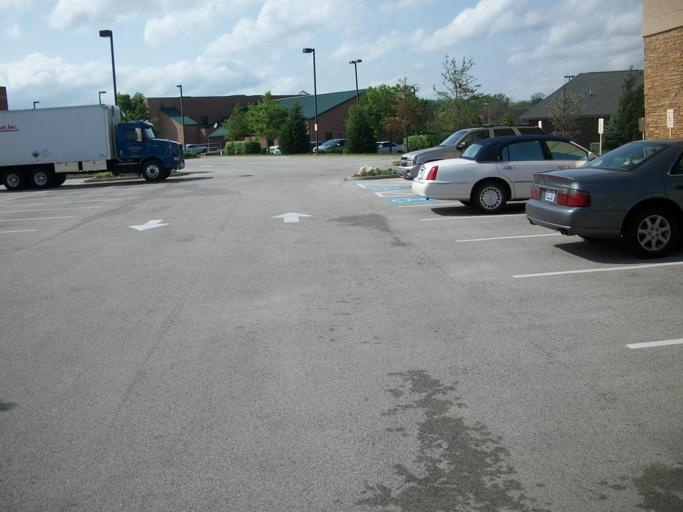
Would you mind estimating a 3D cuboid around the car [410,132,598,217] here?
[{"bbox_3d":[4.456,-2.443,13.890,4.556,1.587,2.144,-8,13,-11],"label":"car"}]
